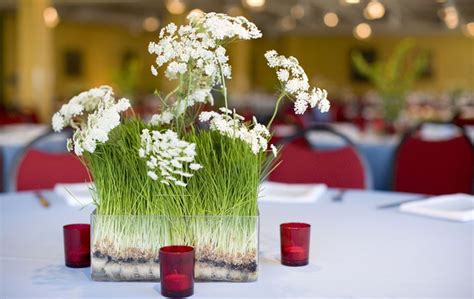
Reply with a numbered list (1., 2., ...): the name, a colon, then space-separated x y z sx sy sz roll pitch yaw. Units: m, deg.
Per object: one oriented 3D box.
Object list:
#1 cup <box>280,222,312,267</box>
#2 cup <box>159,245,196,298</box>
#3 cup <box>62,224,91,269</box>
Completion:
1. cup: 0.179 0.295 1.760 0.098 0.124 0.101 0 8 0
2. cup: -0.168 0.360 1.668 0.117 0.150 0.123 0 10 0
3. cup: -0.493 0.302 1.756 0.097 0.121 0.098 1 4 0
